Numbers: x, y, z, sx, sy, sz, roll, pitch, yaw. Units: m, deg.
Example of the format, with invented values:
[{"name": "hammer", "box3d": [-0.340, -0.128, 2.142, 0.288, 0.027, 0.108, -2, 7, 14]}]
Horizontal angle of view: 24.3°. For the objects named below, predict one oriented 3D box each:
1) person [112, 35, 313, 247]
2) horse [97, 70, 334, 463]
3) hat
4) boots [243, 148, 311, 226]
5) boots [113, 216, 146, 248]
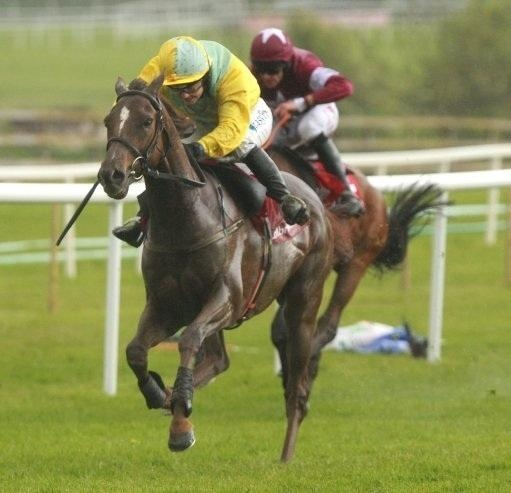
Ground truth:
[{"name": "person", "box3d": [-0.205, -0.536, 5.448, 0.968, 0.775, 1.148, 1, 6, 31]}, {"name": "horse", "box3d": [-0.190, 0.131, 5.372, 0.606, 1.790, 1.274, 6, 12, 24]}, {"name": "hat", "box3d": [-0.310, -0.804, 5.201, 0.198, 0.219, 0.127, 6, 4, 17]}, {"name": "boots", "box3d": [0.089, -0.288, 5.430, 0.196, 0.467, 0.164, -15, 40, 34]}, {"name": "boots", "box3d": [-0.571, -0.078, 5.455, 0.114, 0.075, 0.185, 23, -17, 4]}]
